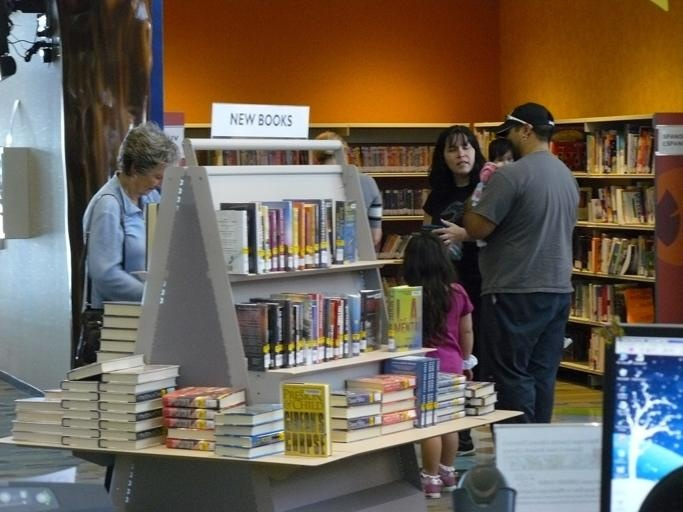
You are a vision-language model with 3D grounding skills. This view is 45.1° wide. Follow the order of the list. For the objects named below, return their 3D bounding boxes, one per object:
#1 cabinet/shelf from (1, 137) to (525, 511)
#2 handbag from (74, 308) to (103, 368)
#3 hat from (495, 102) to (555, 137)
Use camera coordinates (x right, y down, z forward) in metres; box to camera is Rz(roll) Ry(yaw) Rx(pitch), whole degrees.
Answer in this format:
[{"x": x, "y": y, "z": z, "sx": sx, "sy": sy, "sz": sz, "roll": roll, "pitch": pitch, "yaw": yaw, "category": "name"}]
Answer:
[{"x": -0.548, "y": 0.294, "z": 4.655, "sx": 1.960, "sy": 2.180, "sz": 2.038, "roll": -1, "pitch": 1, "yaw": 27, "category": "cabinet/shelf"}, {"x": -1.259, "y": 0.410, "z": 4.108, "sx": 0.230, "sy": 0.238, "sz": 0.238, "roll": 2, "pitch": 4, "yaw": -19, "category": "handbag"}, {"x": 1.051, "y": -0.801, "z": 4.817, "sx": 0.350, "sy": 0.176, "sz": 0.247, "roll": 4, "pitch": 1, "yaw": 15, "category": "hat"}]
